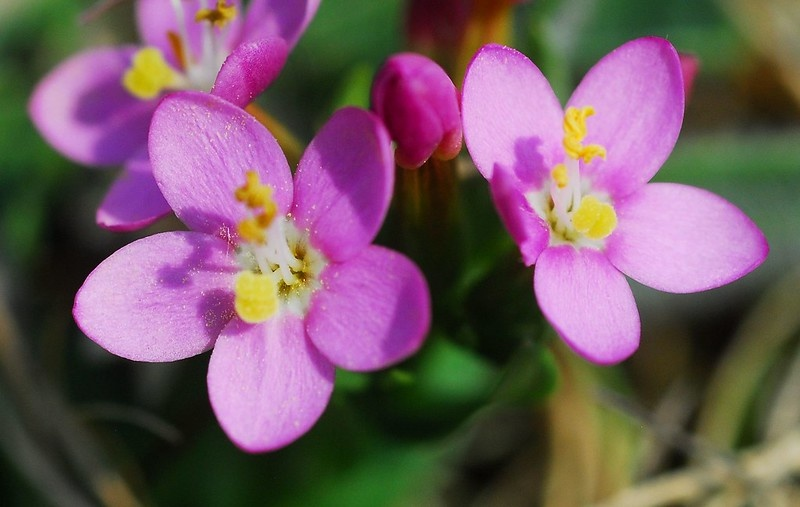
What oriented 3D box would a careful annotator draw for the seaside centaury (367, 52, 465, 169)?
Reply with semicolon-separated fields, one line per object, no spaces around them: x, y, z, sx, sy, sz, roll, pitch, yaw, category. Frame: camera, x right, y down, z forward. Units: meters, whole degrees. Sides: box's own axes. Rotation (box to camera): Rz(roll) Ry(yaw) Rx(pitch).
0.022;-0.172;0.997;0.112;0.123;0.087;7;40;14;seaside centaury
